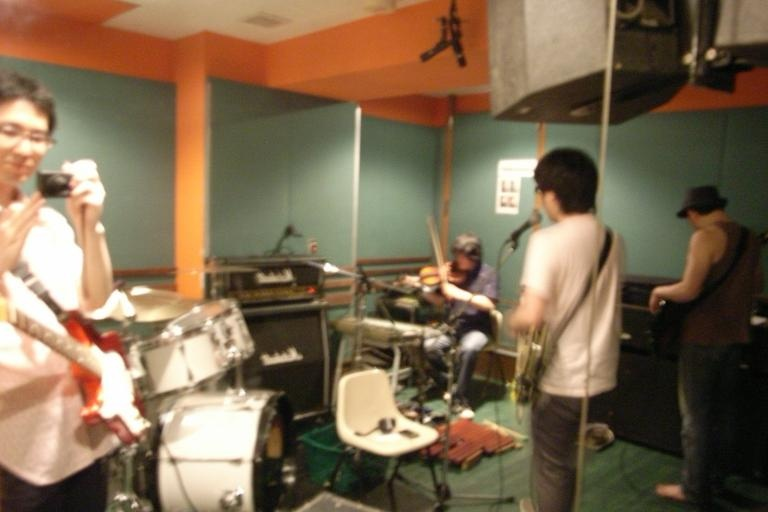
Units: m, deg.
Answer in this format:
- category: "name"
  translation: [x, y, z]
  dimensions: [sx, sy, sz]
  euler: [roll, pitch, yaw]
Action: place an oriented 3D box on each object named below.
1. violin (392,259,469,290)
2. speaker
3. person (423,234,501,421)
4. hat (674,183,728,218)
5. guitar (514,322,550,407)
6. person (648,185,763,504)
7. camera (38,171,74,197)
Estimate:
- category: "violin"
  translation: [0.190, 0.072, 2.640]
  dimensions: [0.334, 0.105, 0.245]
  euler: [-1, 7, -26]
- category: "speaker"
  translation: [-0.634, 0.531, 3.221]
  dimensions: [0.566, 0.553, 0.343]
  euler: [-2, 11, -45]
- category: "person"
  translation: [0.339, 0.318, 2.689]
  dimensions: [0.374, 0.825, 0.423]
  euler: [2, 2, 35]
- category: "hat"
  translation: [0.819, -0.142, 1.553]
  dimensions: [0.090, 0.046, 0.076]
  euler: [17, -30, -34]
- category: "guitar"
  translation: [0.454, 0.346, 1.884]
  dimensions: [0.085, 0.233, 0.101]
  euler: [6, 8, 21]
- category: "person"
  translation: [0.843, 0.252, 1.580]
  dimensions: [0.251, 0.861, 0.086]
  euler: [2, 10, 30]
- category: "camera"
  translation: [-0.819, -0.178, 1.482]
  dimensions: [0.096, 0.062, 0.021]
  euler: [3, 3, -29]
